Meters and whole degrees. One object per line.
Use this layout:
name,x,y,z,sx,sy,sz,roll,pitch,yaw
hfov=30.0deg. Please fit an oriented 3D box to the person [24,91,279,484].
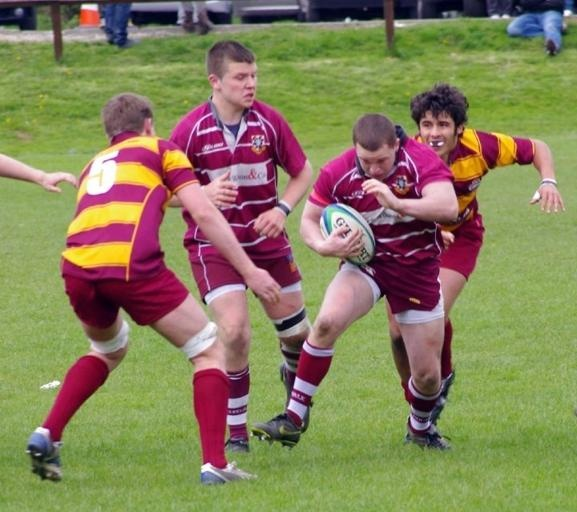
person,-0.869,0.231,6.598,1.350,2.304,0.923,-1,13,1

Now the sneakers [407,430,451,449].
sneakers,0.941,1.249,7.231,0.263,0.102,0.118,18,65,28

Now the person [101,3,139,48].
person,-2.810,-3.830,17.985,0.459,0.749,1.474,-3,14,-8

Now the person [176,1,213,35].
person,-1.338,-3.435,15.522,0.633,0.574,1.417,-2,16,-9

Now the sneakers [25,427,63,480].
sneakers,-1.427,1.203,6.429,0.128,0.361,0.197,-9,45,9

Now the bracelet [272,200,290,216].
bracelet,-0.046,-0.305,7.385,0.095,0.095,0.071,33,26,-25

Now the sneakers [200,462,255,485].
sneakers,-0.374,1.310,6.480,0.354,0.147,0.117,2,-4,-19
